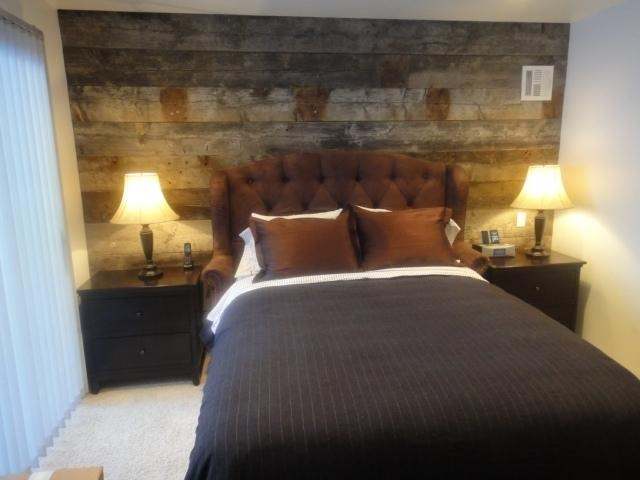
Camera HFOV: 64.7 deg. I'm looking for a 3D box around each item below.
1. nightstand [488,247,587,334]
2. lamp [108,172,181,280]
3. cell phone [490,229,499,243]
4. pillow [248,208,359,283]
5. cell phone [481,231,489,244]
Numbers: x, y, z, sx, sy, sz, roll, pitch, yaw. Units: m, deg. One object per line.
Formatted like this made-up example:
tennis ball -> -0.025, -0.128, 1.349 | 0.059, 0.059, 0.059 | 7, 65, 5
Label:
nightstand -> 1.629, 0.373, 4.054 | 0.675, 0.857, 0.549 | -4, 14, -14
lamp -> -1.251, -0.103, 3.661 | 0.462, 0.756, 0.468 | 5, 11, 36
cell phone -> 1.407, -0.030, 4.120 | 0.104, 0.097, 0.023 | -3, -10, -14
pillow -> -0.110, 0.033, 3.252 | 0.520, 0.471, 0.142 | -6, -25, -7
cell phone -> 1.328, -0.029, 4.085 | 0.081, 0.124, 0.029 | -1, 2, 6
